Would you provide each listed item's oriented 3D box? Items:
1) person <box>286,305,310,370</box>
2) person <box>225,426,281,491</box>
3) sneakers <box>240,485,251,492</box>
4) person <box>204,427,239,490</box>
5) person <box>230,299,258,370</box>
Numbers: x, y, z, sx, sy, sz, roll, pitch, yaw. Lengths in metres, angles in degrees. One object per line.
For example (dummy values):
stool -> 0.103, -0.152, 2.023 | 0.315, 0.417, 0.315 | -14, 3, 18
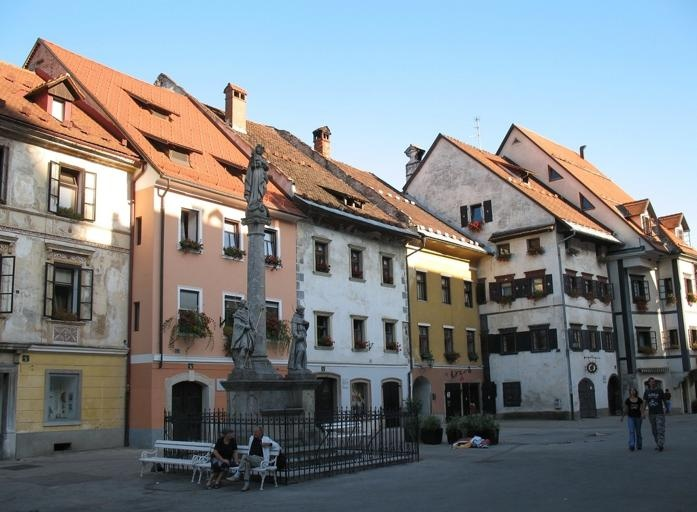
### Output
person -> -1.733, 2.823, 24.126 | 0.662, 2.489, 1.361 | -1, -16, -4
person -> -2.727, 5.625, 19.467 | 1.693, 1.499, 0.955 | -9, -11, 40
sneakers -> -2.715, 6.138, 18.684 | 0.221, 0.185, 0.356 | 0, -17, -10
person -> -3.439, 5.546, 19.337 | 0.784, 1.507, 0.518 | -1, -16, -6
person -> -3.340, 2.504, 22.471 | 0.708, 2.282, 0.419 | 1, -16, -11
